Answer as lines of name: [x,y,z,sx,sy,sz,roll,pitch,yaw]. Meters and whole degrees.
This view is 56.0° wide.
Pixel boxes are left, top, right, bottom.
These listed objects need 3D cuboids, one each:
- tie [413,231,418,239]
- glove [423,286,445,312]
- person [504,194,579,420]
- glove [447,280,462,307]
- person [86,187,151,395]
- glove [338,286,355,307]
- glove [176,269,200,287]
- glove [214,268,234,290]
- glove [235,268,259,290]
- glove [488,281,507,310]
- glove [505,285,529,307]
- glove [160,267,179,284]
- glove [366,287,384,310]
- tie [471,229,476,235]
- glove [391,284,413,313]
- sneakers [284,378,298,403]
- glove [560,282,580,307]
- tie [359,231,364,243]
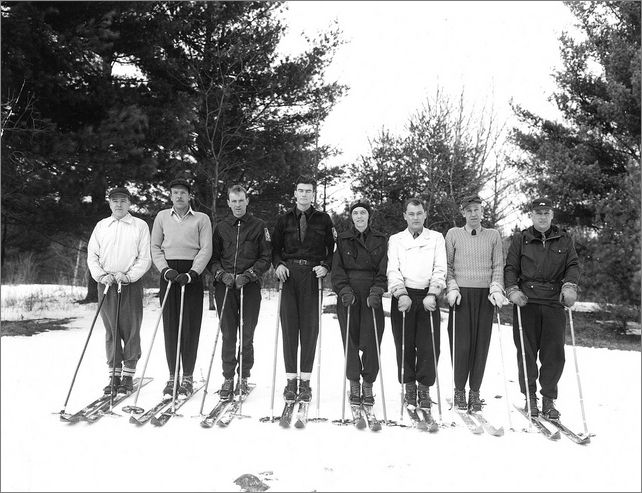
tie: [1.384,-0.186,8.930,0.091,0.112,0.023,6,3,24]
glove: [1.601,0.705,8.707,0.218,0.409,0.156,43,-34,-18]
person: [3.131,0.838,8.673,0.972,3.002,0.844,6,11,25]
glove: [1.915,0.688,8.724,0.200,0.384,0.219,1,10,0]
person: [-2.994,0.622,9.067,0.865,2.953,0.979,-5,11,-32]
glove: [0.368,0.708,8.589,0.175,0.281,0.131,0,-22,4]
glove: [-1.975,0.465,8.929,0.202,0.254,0.372,9,13,37]
glove: [-1.439,0.452,8.883,0.272,0.227,0.152,24,-18,29]
glove: [-1.142,0.398,8.865,0.256,0.129,0.279,-19,37,-19]
glove: [2.536,0.686,8.668,0.127,0.358,0.240,-4,0,-43]
glove: [2.812,0.712,8.632,0.310,0.290,0.245,0,10,-5]
glove: [-2.245,0.428,8.919,0.312,0.223,0.219,2,10,5]
glove: [0.785,0.732,8.707,0.270,0.319,0.247,0,10,-7]
tie: [2.243,-0.223,8.915,0.046,0.086,0.018,-2,-8,25]
glove: [1.135,0.724,8.586,0.228,0.429,0.148,-22,-20,33]
sneakers: [-0.442,2.060,8.753,0.199,0.293,0.393,1,11,-2]
glove: [3.482,0.678,8.478,0.203,0.339,0.112,1,-20,13]
tie: [0.601,-0.147,8.829,0.100,0.127,0.039,-2,-9,2]
